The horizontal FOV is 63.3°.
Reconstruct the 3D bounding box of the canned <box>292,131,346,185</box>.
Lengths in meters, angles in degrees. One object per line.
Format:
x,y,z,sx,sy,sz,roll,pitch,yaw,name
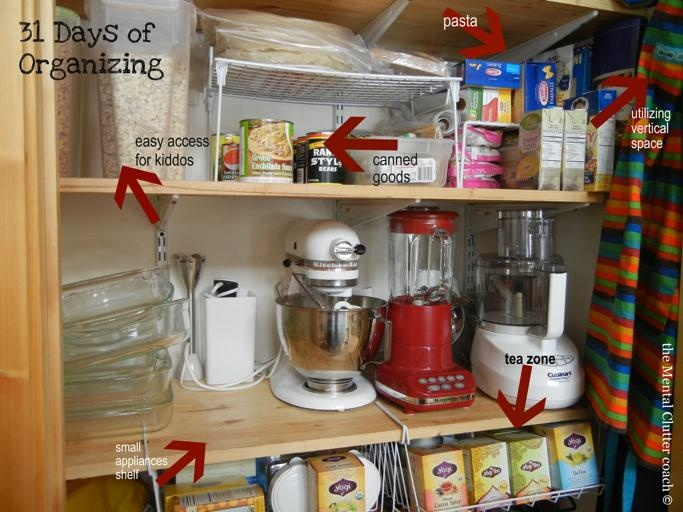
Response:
-0.059,-0.232,1.347,0.127,0.138,0.127,1,3,18,canned

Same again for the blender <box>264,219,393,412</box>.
-0.048,0.137,1.467,0.279,0.444,0.457,0,2,-23,blender

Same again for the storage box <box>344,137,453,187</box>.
0.145,-0.210,1.302,0.178,0.073,0.134,-1,2,-13,storage box
